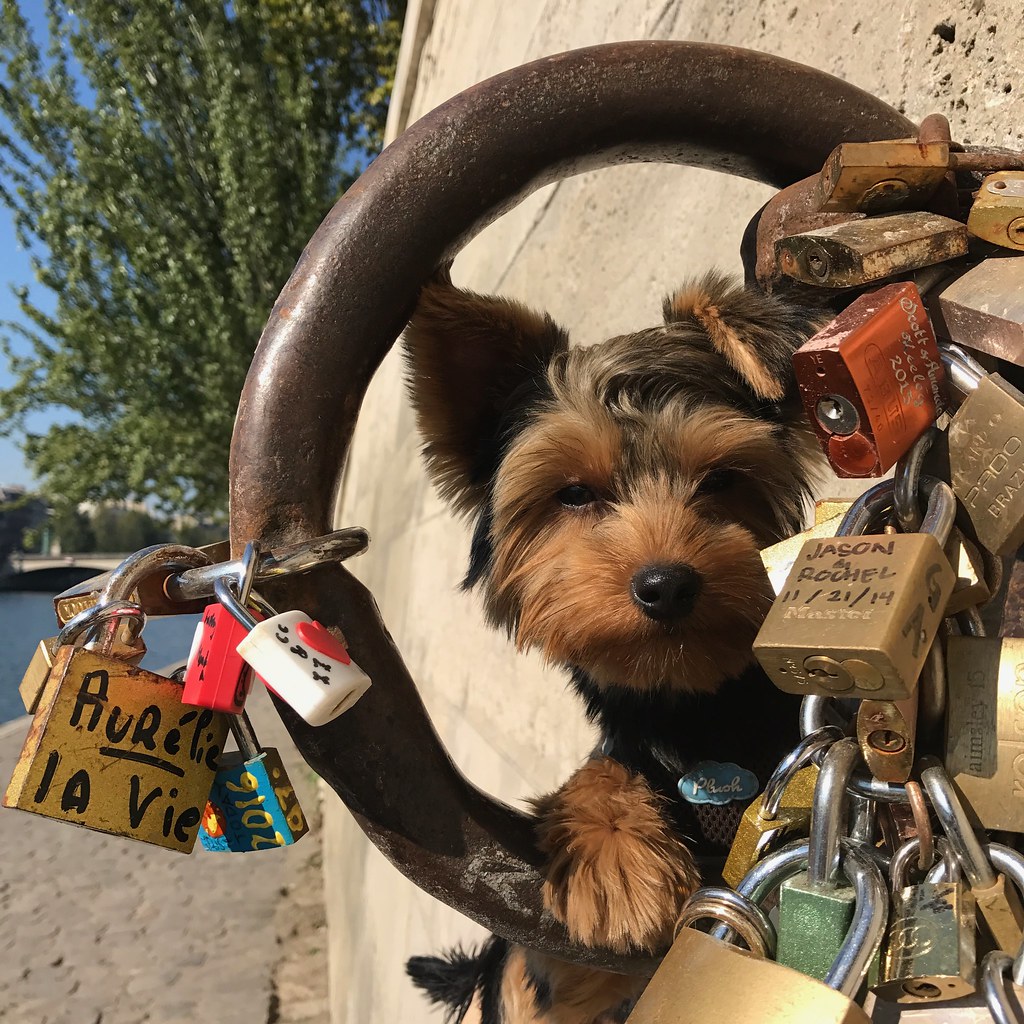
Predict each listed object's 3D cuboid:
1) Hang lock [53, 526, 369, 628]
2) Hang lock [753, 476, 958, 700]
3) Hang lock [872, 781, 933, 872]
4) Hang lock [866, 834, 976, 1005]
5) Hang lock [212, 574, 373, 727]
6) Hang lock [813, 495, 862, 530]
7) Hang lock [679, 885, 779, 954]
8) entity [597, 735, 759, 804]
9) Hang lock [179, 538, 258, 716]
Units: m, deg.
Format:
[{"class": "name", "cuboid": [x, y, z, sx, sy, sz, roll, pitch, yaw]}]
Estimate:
[{"class": "Hang lock", "cuboid": [-0.235, 0.053, 0.736, 0.179, 0.032, 0.134, -21, 0, 14]}, {"class": "Hang lock", "cuboid": [0.209, 0.065, 0.559, 0.089, 0.079, 0.111, 10, 48, 34]}, {"class": "Hang lock", "cuboid": [0.258, 0.201, 0.591, 0.019, 0.053, 0.045, -8, 7, -19]}, {"class": "Hang lock", "cuboid": [0.251, 0.244, 0.558, 0.055, 0.031, 0.101, -30, 19, 38]}, {"class": "Hang lock", "cuboid": [-0.161, 0.109, 0.692, 0.061, 0.124, 0.104, -41, 42, -17]}, {"class": "Hang lock", "cuboid": [0.262, 0.004, 0.735, 0.028, 0.037, 0.045, 4, 39, 11]}, {"class": "Hang lock", "cuboid": [0.141, 0.250, 0.553, 0.014, 0.034, 0.036, -26, 16, -20]}, {"class": "entity", "cuboid": [0.166, 0.280, 0.987, 0.188, 0.019, 0.036, 14, 26, 15]}, {"class": "Hang lock", "cuboid": [-0.229, 0.091, 0.753, 0.055, 0.142, 0.038, 19, -16, -11]}]
